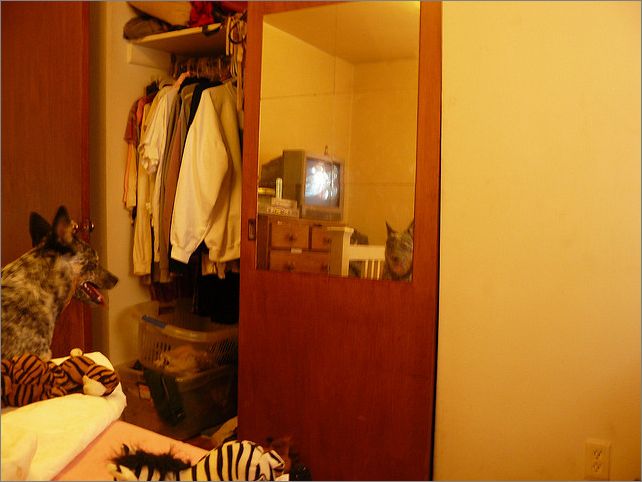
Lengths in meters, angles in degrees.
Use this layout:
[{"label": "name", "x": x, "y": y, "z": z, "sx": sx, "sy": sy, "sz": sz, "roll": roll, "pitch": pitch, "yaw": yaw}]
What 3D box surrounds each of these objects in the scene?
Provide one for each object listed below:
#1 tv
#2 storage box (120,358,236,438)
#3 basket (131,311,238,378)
[{"label": "tv", "x": -0.041, "y": -0.251, "z": 2.536, "sx": 0.251, "sy": 0.287, "sz": 0.187, "roll": 6, "pitch": -3, "yaw": -39}, {"label": "storage box", "x": -0.770, "y": 0.786, "z": 3.070, "sx": 0.382, "sy": 0.303, "sz": 0.589, "roll": 4, "pitch": 5, "yaw": 38}, {"label": "basket", "x": -0.791, "y": 0.563, "z": 3.112, "sx": 0.331, "sy": 0.205, "sz": 0.419, "roll": 2, "pitch": 2, "yaw": -43}]
